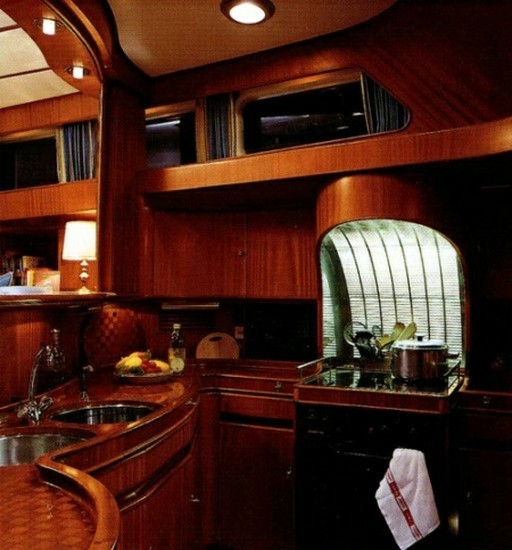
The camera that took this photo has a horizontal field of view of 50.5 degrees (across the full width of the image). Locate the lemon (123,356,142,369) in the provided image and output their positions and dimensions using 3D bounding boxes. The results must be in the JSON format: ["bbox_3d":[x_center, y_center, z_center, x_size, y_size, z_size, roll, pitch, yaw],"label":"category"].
[{"bbox_3d":[-0.671,0.479,2.968,0.093,0.059,0.093,-1,-5,-10],"label":"lemon"}]

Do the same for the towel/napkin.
[{"bbox_3d":[0.631,0.951,2.285,0.238,0.413,0.073,-5,-6,32],"label":"towel/napkin"}]

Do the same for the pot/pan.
[{"bbox_3d":[0.818,0.435,2.713,0.287,0.169,0.195,0,-2,1],"label":"pot/pan"}]

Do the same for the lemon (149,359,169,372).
[{"bbox_3d":[-0.534,0.513,3.074,0.072,0.031,0.069,10,4,41],"label":"lemon"}]

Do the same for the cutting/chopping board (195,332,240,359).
[{"bbox_3d":[-0.261,0.487,3.696,0.285,0.180,0.069,-1,-5,-6],"label":"cutting/chopping board"}]

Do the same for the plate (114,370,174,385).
[{"bbox_3d":[-0.623,0.572,3.002,0.298,0.065,0.194,-1,-5,-9],"label":"plate"}]

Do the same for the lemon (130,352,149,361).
[{"bbox_3d":[-0.658,0.463,3.073,0.061,0.029,0.077,-1,-2,2],"label":"lemon"}]
